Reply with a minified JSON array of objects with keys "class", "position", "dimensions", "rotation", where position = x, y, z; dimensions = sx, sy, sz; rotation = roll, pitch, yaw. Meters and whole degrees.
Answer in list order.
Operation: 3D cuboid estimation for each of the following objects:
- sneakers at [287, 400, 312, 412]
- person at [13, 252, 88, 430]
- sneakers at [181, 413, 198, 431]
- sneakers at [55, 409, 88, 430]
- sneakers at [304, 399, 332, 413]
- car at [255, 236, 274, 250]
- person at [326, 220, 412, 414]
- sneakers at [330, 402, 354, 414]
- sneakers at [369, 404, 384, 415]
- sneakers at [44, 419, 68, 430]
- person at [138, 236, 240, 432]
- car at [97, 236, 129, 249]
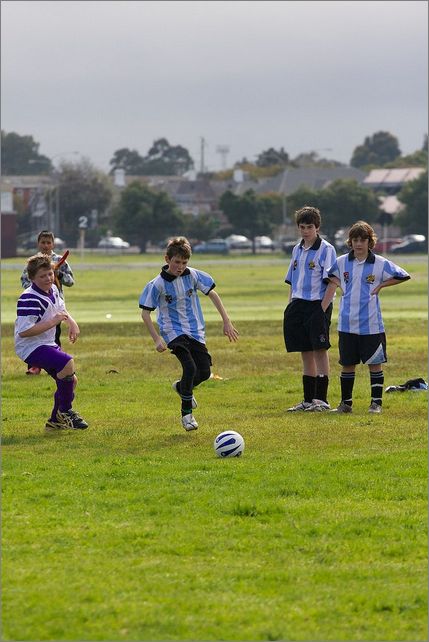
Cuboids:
[{"class":"sneakers","position":[0.701,0.693,10.538],"dimensions":[0.215,0.087,0.074],"rotation":[3,-7,-42]},{"class":"person","position":[-1.229,0.160,9.785],"dimensions":[0.539,1.312,0.565],"rotation":[-1,9,-8]},{"class":"sneakers","position":[-0.181,0.747,9.616],"dimensions":[0.122,0.118,0.228],"rotation":[1,9,-1]},{"class":"sneakers","position":[-1.054,0.734,9.708],"dimensions":[0.270,0.118,0.104],"rotation":[16,19,28]},{"class":"sneakers","position":[0.840,0.689,10.525],"dimensions":[0.074,0.083,0.219],"rotation":[-7,-10,33]},{"class":"car","position":[3.124,-4.590,80.353],"dimensions":[1.140,1.001,7.103],"rotation":[1,9,2]},{"class":"person","position":[1.207,-0.033,10.434],"dimensions":[0.594,1.507,0.575],"rotation":[4,9,18]},{"class":"sneakers","position":[1.036,0.704,10.420],"dimensions":[0.199,0.089,0.071],"rotation":[0,-1,13]},{"class":"sneakers","position":[1.287,0.701,10.302],"dimensions":[0.060,0.063,0.152],"rotation":[-1,-5,14]},{"class":"sneakers","position":[-1.184,0.780,9.693],"dimensions":[0.177,0.076,0.064],"rotation":[0,-1,8]},{"class":"person","position":[-0.197,0.084,9.805],"dimensions":[0.745,1.469,1.142],"rotation":[0,9,-1]},{"class":"car","position":[-6.197,-4.721,79.242],"dimensions":[1.814,0.807,1.065],"rotation":[0,4,20]}]
